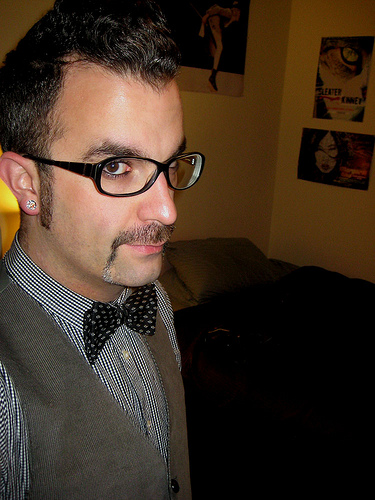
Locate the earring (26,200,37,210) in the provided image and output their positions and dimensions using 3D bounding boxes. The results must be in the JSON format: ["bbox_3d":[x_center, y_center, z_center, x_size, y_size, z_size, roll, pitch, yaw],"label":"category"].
[{"bbox_3d":[-0.311,-0.090,0.884,0.023,0.021,0.007,0,0,-19],"label":"earring"}]

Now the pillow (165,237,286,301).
[{"bbox_3d":[0.217,0.127,2.822,0.582,0.095,0.466,-13,32,-32],"label":"pillow"}]

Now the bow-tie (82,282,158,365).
[{"bbox_3d":[-0.152,0.158,1.010,0.039,0.142,0.225,5,12,40],"label":"bow-tie"}]
